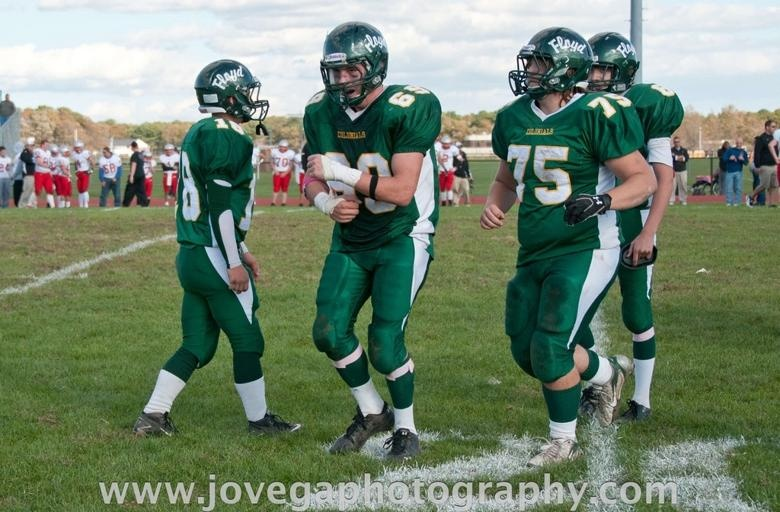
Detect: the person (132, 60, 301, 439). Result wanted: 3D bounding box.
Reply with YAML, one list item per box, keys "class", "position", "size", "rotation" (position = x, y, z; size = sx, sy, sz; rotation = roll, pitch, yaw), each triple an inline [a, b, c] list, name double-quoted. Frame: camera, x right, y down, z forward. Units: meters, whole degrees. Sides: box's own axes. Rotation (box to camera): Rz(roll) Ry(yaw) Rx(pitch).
- class: "person"
  position: [-1.260, -0.036, 5.615]
  size: [1.032, 2.671, 0.994]
  rotation: [-4, 16, -11]

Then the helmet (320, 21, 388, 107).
- class: "helmet"
  position: [-0.250, -1.303, 5.326]
  size: [0.446, 0.559, 0.220]
  rotation: [-2, 15, -4]

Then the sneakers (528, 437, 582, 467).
- class: "sneakers"
  position: [1.119, 1.322, 5.322]
  size: [0.431, 0.156, 0.149]
  rotation: [-7, 15, -24]

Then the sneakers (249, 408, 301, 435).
- class: "sneakers"
  position: [-0.844, 1.218, 5.685]
  size: [0.397, 0.161, 0.143]
  rotation: [0, 5, -1]

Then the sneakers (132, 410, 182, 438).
- class: "sneakers"
  position: [-1.693, 1.223, 5.604]
  size: [0.392, 0.171, 0.127]
  rotation: [3, 5, -11]

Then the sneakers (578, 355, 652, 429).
- class: "sneakers"
  position: [1.708, 1.002, 5.984]
  size: [0.243, 0.279, 0.660]
  rotation: [-16, 29, 54]

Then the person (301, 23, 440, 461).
- class: "person"
  position: [-0.101, -0.108, 5.396]
  size: [0.947, 2.908, 0.974]
  rotation: [-3, 16, -6]

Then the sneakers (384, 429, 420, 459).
- class: "sneakers"
  position: [0.072, 1.295, 5.373]
  size: [0.268, 0.204, 0.191]
  rotation: [1, 15, 6]

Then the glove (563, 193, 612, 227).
- class: "glove"
  position: [1.288, -0.296, 5.128]
  size: [0.300, 0.172, 0.123]
  rotation: [-21, -26, 6]

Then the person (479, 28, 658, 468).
- class: "person"
  position: [1.171, -0.111, 5.425]
  size: [0.922, 2.846, 0.908]
  rotation: [-13, 20, -37]
